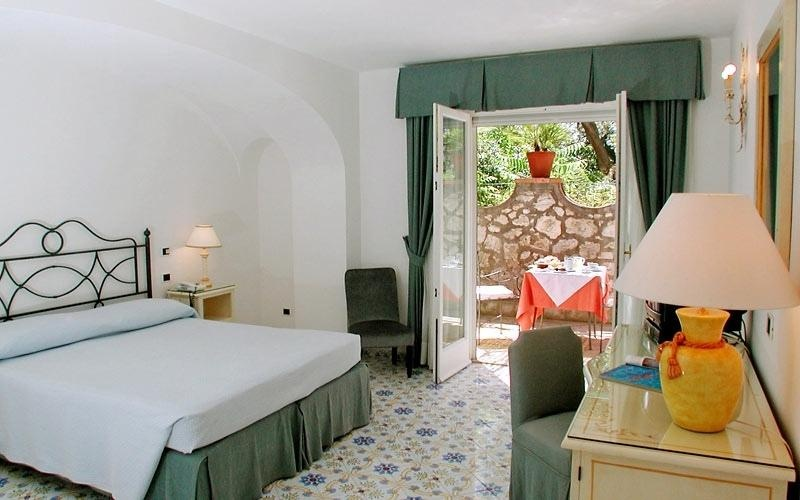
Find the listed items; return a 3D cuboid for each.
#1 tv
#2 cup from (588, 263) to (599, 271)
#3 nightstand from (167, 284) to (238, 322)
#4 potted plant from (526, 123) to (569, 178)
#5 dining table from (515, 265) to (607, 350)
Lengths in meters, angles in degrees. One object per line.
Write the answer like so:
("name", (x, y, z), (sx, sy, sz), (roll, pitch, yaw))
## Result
("tv", (1.795, 0.436, 3.412), (0.378, 0.258, 0.209), (2, 7, 37))
("cup", (2.328, 0.214, 6.880), (0.149, 0.071, 0.215), (-1, 3, 3))
("nightstand", (-2.095, 0.666, 6.023), (0.356, 0.451, 0.649), (6, 10, 20))
("potted plant", (2.080, -1.420, 8.213), (0.509, 0.793, 0.864), (-1, 6, 22))
("dining table", (1.914, 0.651, 6.709), (0.900, 0.688, 0.942), (3, 0, 22))
